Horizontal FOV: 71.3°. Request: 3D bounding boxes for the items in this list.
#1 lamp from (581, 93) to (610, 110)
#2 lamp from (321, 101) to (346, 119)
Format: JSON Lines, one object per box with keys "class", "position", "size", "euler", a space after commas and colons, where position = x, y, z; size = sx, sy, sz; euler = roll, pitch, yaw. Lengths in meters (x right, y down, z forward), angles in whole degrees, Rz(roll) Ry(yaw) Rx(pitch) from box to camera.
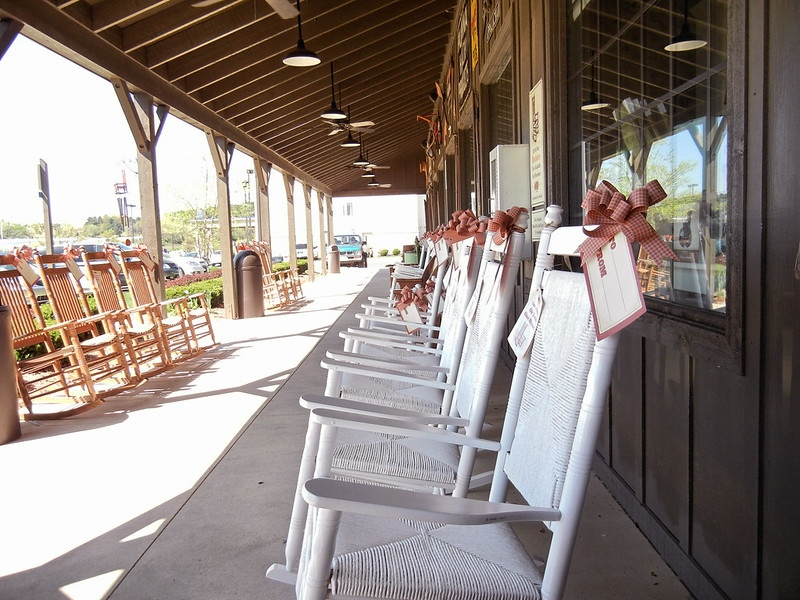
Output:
{"class": "lamp", "position": [1.017, -1.018, 2.905], "size": [0.102, 0.116, 0.110], "euler": [-4, -8, -2]}
{"class": "lamp", "position": [-0.891, -2.471, 7.428], "size": [0.301, 0.310, 0.314], "euler": [0, 5, -9]}
